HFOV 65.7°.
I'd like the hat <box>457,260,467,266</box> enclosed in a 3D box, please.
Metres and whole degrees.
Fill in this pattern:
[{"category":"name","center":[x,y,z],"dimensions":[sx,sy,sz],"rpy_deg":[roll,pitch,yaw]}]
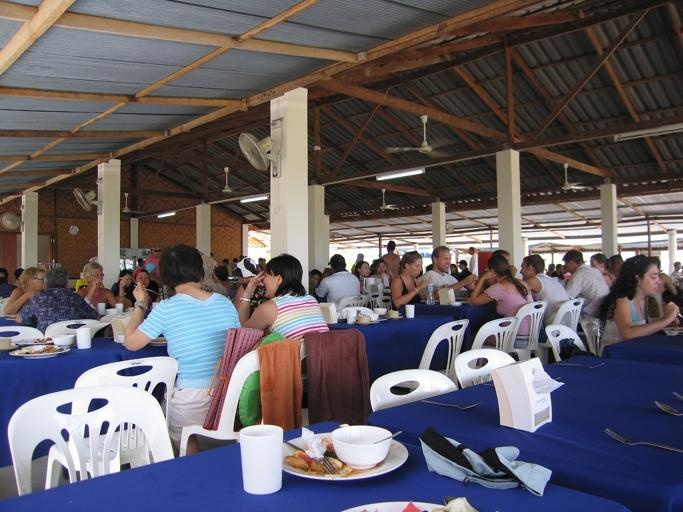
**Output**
[{"category":"hat","center":[3.030,0.203,13.505],"dimensions":[0.215,0.103,0.246],"rpy_deg":[4,8,11]}]

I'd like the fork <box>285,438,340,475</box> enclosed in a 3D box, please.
[{"category":"fork","center":[-0.129,0.624,1.663],"dimensions":[0.047,0.039,0.326],"rpy_deg":[-2,-2,-38]}]

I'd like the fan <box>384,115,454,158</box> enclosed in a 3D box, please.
[{"category":"fan","center":[1.302,-2.090,9.053],"dimensions":[1.194,0.561,1.216],"rpy_deg":[-2,16,4]}]

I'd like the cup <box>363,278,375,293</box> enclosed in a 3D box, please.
[{"category":"cup","center":[0.452,0.504,8.762],"dimensions":[0.229,0.300,0.185],"rpy_deg":[2,-24,-2]}]

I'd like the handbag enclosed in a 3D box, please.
[{"category":"handbag","center":[-0.479,0.653,2.804],"dimensions":[0.149,0.424,0.478],"rpy_deg":[23,-8,-3]}]

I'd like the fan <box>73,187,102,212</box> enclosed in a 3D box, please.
[{"category":"fan","center":[-4.240,-0.941,8.978],"dimensions":[0.349,0.403,1.066],"rpy_deg":[0,-2,-24]}]

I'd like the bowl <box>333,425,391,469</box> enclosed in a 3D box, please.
[{"category":"bowl","center":[0.059,0.591,1.632],"dimensions":[0.198,0.071,0.168],"rpy_deg":[0,3,-6]}]

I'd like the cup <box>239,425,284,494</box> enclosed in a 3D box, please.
[{"category":"cup","center":[-0.227,0.596,1.541],"dimensions":[0.120,0.175,0.112],"rpy_deg":[-1,-2,0]}]

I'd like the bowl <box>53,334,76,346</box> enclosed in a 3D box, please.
[{"category":"bowl","center":[-1.908,0.589,3.701],"dimensions":[0.123,0.049,0.106],"rpy_deg":[0,-9,-8]}]

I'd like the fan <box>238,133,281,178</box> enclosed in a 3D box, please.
[{"category":"fan","center":[-0.874,-1.110,5.927],"dimensions":[0.438,0.462,0.447],"rpy_deg":[7,25,44]}]
